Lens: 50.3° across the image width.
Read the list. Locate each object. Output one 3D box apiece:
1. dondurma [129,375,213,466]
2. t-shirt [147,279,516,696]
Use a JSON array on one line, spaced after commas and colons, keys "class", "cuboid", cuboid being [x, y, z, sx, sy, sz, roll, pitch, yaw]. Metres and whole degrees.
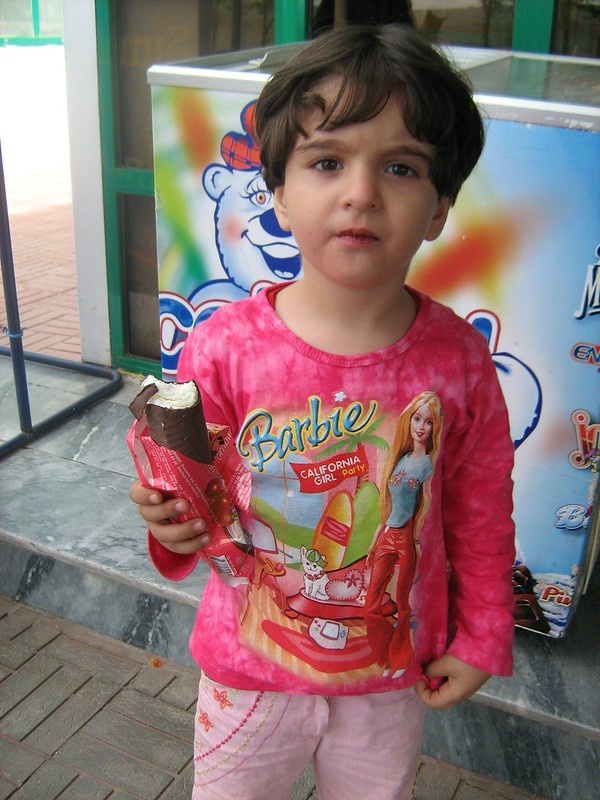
[{"class": "dondurma", "cuboid": [-0.133, 0.027, 0.660, 0.063, 0.106, 0.060, 5, 19, 10]}, {"class": "t-shirt", "cuboid": [0.053, 0.123, 0.930, 0.587, 0.486, 0.289, 3, 7, 2]}]
